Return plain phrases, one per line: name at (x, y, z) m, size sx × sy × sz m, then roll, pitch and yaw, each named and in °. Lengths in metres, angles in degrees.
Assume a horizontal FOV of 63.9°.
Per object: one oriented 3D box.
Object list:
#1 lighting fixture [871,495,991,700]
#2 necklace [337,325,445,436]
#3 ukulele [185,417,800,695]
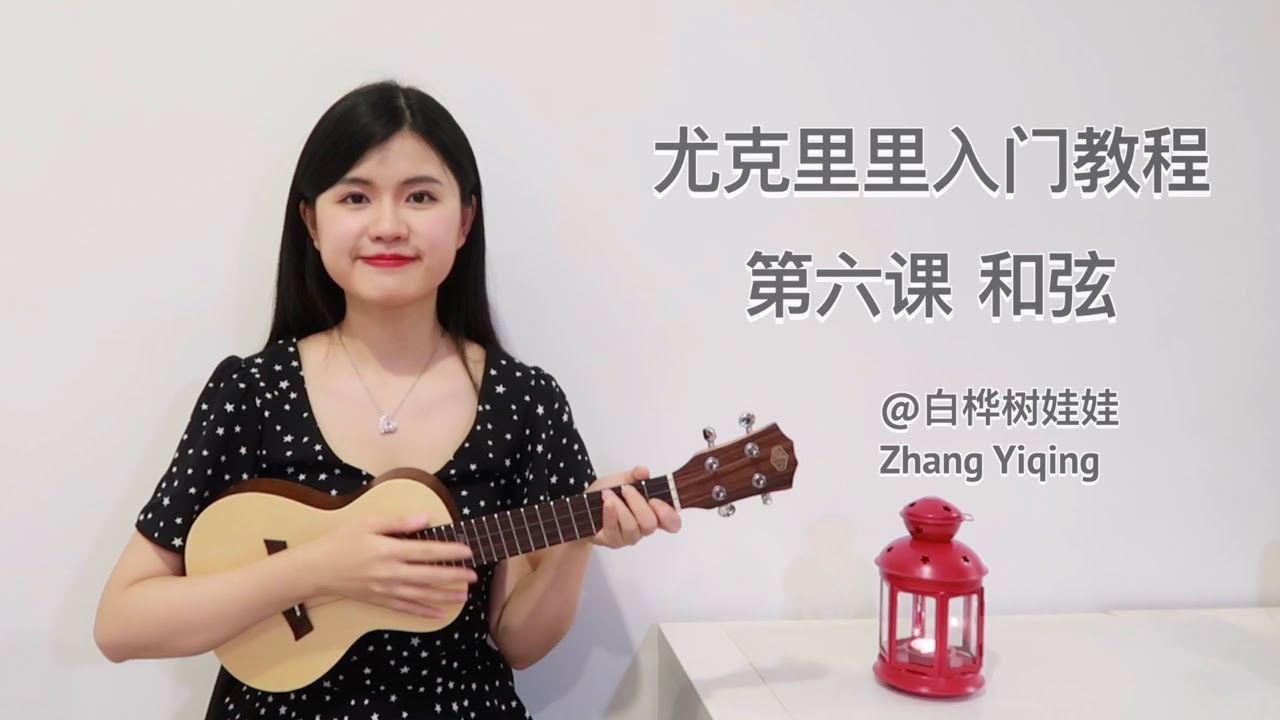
lighting fixture at (0.767, 0.612, 2.695) m, size 0.292 × 0.468 × 0.306 m, roll 0°, pitch 4°, yaw 26°
necklace at (-0.643, 0.055, 2.586) m, size 0.259 × 0.254 × 0.068 m, roll 0°, pitch -5°, yaw -6°
ukulele at (-0.471, 0.436, 2.557) m, size 1.731 × 0.607 × 0.218 m, roll -10°, pitch 2°, yaw -4°
